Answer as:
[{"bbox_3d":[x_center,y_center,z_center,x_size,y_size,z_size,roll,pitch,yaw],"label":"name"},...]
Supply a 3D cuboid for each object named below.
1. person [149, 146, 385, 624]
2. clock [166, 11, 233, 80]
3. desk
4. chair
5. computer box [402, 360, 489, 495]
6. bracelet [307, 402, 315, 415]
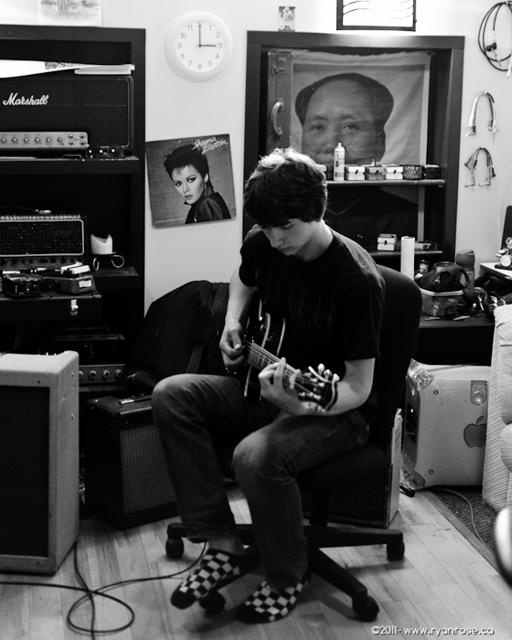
[{"bbox_3d":[0.050,0.206,1.714,0.618,1.280,0.464,4,7,32],"label":"person"},{"bbox_3d":[-0.274,-1.239,2.877,0.313,0.045,0.365,-4,-31,-9],"label":"clock"},{"bbox_3d":[0.946,0.139,2.843,0.330,0.281,0.202,-1,17,1],"label":"desk"},{"bbox_3d":[0.059,0.332,2.137,0.741,1.350,0.872,1,1,-31],"label":"chair"},{"bbox_3d":[0.857,0.487,2.691,0.381,0.491,0.457,1,-3,-1],"label":"computer box"},{"bbox_3d":[0.137,0.229,1.503,0.016,0.028,0.006,0,5,29],"label":"bracelet"}]
